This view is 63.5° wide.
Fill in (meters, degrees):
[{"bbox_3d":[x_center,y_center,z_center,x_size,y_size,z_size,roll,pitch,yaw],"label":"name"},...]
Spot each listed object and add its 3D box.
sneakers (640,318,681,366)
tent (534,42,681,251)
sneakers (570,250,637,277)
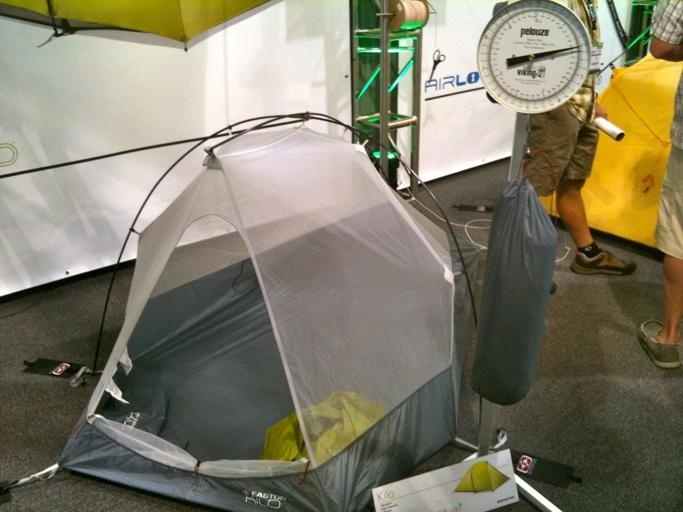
[{"bbox_3d":[1.649,0.435,2.887,0.104,0.122,0.297,-9,30,11],"label":"sneakers"},{"bbox_3d":[2.006,-0.807,4.105,1.081,1.113,1.097,31,32,24],"label":"tent"},{"bbox_3d":[1.633,0.066,3.535,0.410,0.197,0.153,-1,18,2],"label":"sneakers"}]
